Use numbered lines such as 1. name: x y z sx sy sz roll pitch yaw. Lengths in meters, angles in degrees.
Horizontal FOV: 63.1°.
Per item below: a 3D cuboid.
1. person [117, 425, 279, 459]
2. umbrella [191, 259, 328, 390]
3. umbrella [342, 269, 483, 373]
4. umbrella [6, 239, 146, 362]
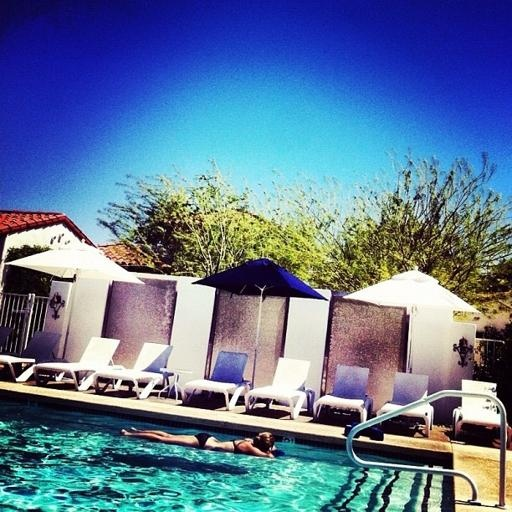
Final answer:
1. person: -0.662 2.229 4.935 1.501 0.225 0.251 6 7 4
2. umbrella: 0.031 1.095 7.905 2.665 2.122 2.398 5 -11 10
3. umbrella: 2.823 1.220 7.735 2.471 1.668 2.105 6 -11 -2
4. umbrella: -4.837 1.191 10.561 3.608 2.664 2.891 10 -16 -1
